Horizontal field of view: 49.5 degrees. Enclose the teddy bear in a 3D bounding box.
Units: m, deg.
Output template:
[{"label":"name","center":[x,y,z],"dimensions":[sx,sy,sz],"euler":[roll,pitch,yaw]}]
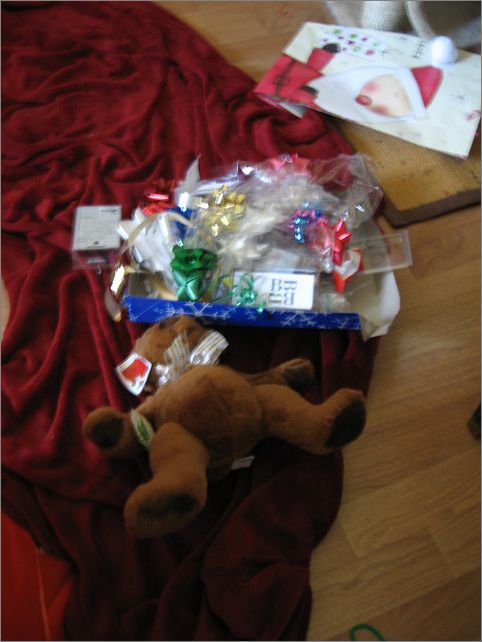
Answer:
[{"label":"teddy bear","center":[-0.045,0.121,0.787],"dimensions":[0.363,0.229,0.315],"euler":[-30,57,-15]}]
